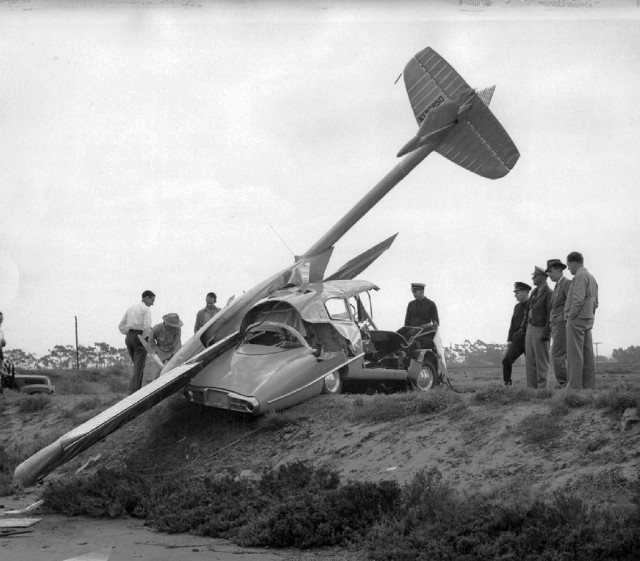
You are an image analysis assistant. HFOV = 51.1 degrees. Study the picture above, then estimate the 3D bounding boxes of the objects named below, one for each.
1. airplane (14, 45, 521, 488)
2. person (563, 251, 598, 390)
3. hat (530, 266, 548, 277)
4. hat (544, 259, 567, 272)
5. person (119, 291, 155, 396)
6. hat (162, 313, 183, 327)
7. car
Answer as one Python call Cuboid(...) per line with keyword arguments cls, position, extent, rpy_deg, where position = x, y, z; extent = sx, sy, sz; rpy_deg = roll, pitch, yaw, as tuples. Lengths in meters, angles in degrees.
Cuboid(cls="airplane", position=(0.980, -1.662, 17.043), extent=(1.563, 9.670, 9.365), rpy_deg=(32, 20, 3))
Cuboid(cls="person", position=(4.563, 0.669, 11.679), extent=(0.515, 2.386, 0.921), rpy_deg=(-4, -6, 35))
Cuboid(cls="hat", position=(3.718, -0.135, 11.176), extent=(0.311, 0.167, 0.248), rpy_deg=(14, -3, 14))
Cuboid(cls="hat", position=(3.938, -0.242, 11.057), extent=(0.305, 0.162, 0.390), rpy_deg=(-22, -18, 17))
Cuboid(cls="person", position=(-4.159, 1.367, 15.170), extent=(0.714, 2.322, 0.588), rpy_deg=(2, -5, -16))
Cuboid(cls="hat", position=(-3.382, 0.909, 15.434), extent=(0.380, 0.306, 0.540), rpy_deg=(2, -7, -18))
Cuboid(cls="car", position=(0.248, 1.435, 14.151), extent=(5.274, 2.202, 2.380), rpy_deg=(-8, -8, -44))
